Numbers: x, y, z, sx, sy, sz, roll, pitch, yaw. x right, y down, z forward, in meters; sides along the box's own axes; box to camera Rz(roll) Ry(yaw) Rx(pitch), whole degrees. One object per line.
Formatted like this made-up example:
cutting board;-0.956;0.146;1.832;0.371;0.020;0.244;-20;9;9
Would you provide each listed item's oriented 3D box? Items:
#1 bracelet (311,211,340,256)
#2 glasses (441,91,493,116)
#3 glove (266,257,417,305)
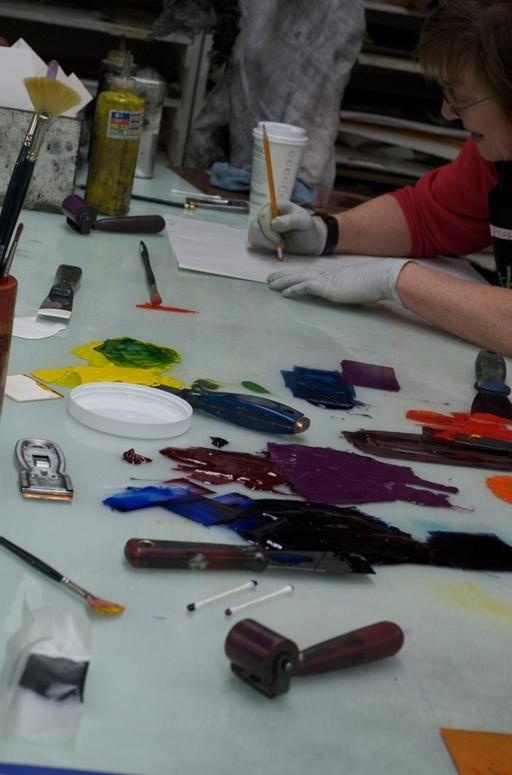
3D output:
bracelet;0.159;-0.331;1.428;0.050;0.081;0.065;7;9;-20
glasses;0.353;-0.477;1.124;0.071;0.019;0.062;-16;31;-5
glove;0.149;-0.191;1.161;0.206;0.050;0.100;-10;24;3
